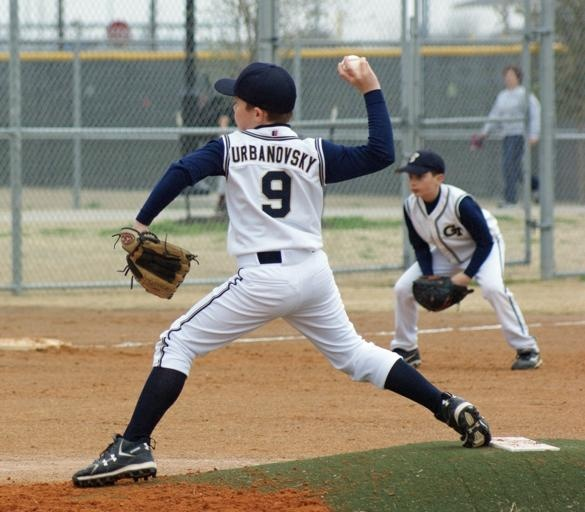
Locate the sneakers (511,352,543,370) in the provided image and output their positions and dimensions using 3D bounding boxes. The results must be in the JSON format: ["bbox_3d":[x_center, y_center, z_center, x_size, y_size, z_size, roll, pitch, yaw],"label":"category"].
[{"bbox_3d":[1.808,0.804,8.822,0.238,0.143,0.114,-17,3,13],"label":"sneakers"}]

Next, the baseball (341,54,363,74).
[{"bbox_3d":[0.347,-1.152,6.807,0.115,0.055,0.125,-7,37,-16],"label":"baseball"}]

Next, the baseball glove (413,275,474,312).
[{"bbox_3d":[1.143,0.287,8.607,0.262,0.131,0.354,7,6,42],"label":"baseball glove"}]

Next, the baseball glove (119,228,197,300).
[{"bbox_3d":[-0.822,0.028,6.988,0.448,0.394,0.137,35,8,-11],"label":"baseball glove"}]

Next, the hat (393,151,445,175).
[{"bbox_3d":[0.979,-0.683,8.500,0.267,0.159,0.187,6,1,-5],"label":"hat"}]

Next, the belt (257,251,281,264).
[{"bbox_3d":[-0.133,0.010,6.622,0.090,0.086,0.025,-2,3,4],"label":"belt"}]

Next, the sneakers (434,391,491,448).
[{"bbox_3d":[1.011,0.979,6.751,0.216,0.176,0.510,3,-31,25],"label":"sneakers"}]
